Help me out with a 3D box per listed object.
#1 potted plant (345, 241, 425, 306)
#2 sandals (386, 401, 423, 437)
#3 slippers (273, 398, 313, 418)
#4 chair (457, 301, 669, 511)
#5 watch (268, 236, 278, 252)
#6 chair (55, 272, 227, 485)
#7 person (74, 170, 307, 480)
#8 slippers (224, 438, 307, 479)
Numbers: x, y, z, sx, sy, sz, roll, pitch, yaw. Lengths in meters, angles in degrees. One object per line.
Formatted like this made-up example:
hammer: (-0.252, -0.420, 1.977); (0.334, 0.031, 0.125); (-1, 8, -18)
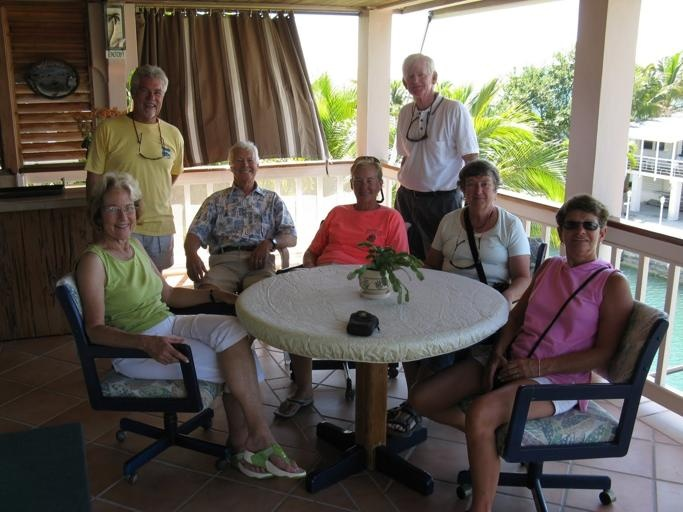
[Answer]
potted plant: (0.187, 0.071, 2.571); (0.471, 0.242, 0.446); (3, 2, 20)
sandals: (0.340, 0.858, 2.775); (0.153, 0.105, 0.287); (20, 13, 39)
slippers: (-0.298, 0.907, 3.147); (0.084, 0.059, 0.209); (9, 11, 40)
chair: (1.068, 0.651, 2.523); (0.909, 1.115, 0.903); (2, -3, 2)
watch: (-0.468, -0.080, 3.634); (0.056, 0.082, 0.088); (-2, 53, -21)
chair: (-0.965, 0.576, 2.654); (0.806, 0.919, 0.718); (2, 5, 4)
person: (-0.744, 0.349, 2.584); (1.252, 1.483, 0.751); (-2, 5, 21)
slippers: (-0.364, 1.029, 2.642); (0.419, 0.211, 0.145); (4, 0, 2)
